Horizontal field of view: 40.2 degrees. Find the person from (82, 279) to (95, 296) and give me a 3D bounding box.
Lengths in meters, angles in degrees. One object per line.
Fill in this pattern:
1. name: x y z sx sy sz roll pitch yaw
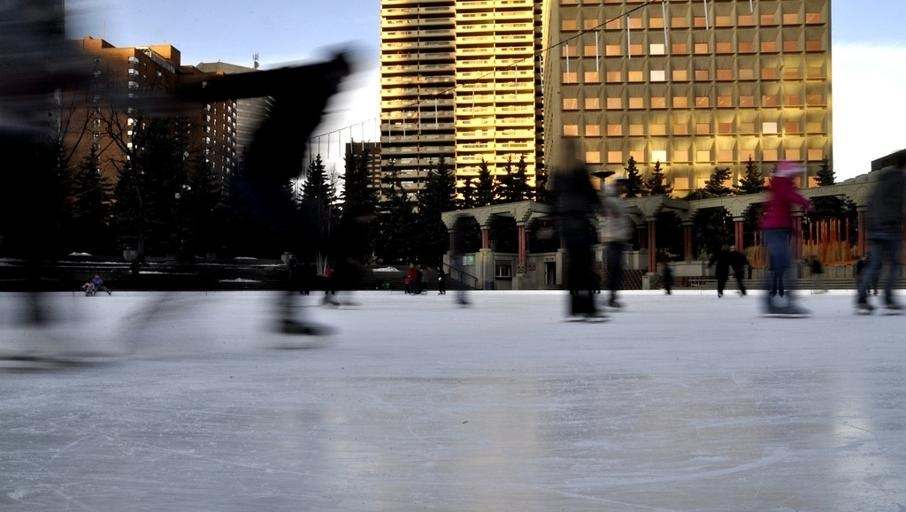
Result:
1. person: -12.205 1.088 41.634 0.657 0.520 0.908 1 -1 -8
